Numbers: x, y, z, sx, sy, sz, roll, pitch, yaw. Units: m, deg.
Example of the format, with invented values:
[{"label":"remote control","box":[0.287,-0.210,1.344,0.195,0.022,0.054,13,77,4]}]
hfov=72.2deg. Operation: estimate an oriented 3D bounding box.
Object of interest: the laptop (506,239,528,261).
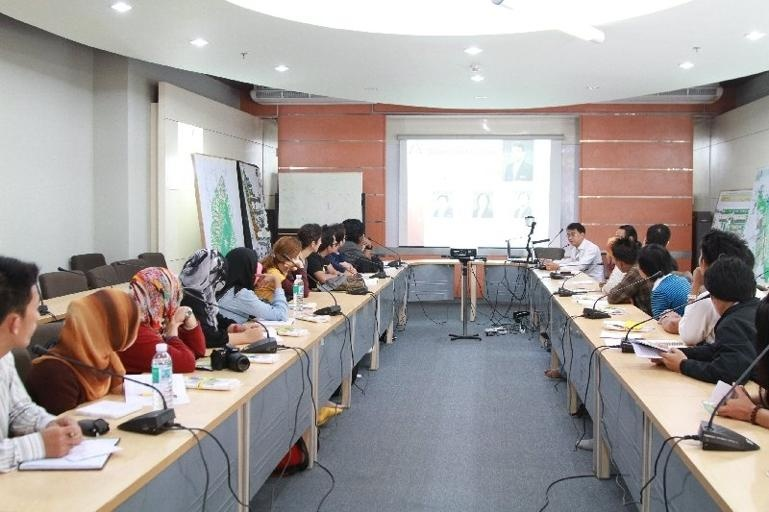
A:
[{"label":"laptop","box":[2.161,-0.052,8.614,0.418,0.383,0.416,1,-2,-5]}]

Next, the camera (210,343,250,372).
[{"label":"camera","box":[-0.811,0.522,2.765,0.145,0.085,0.137,4,0,27]}]
